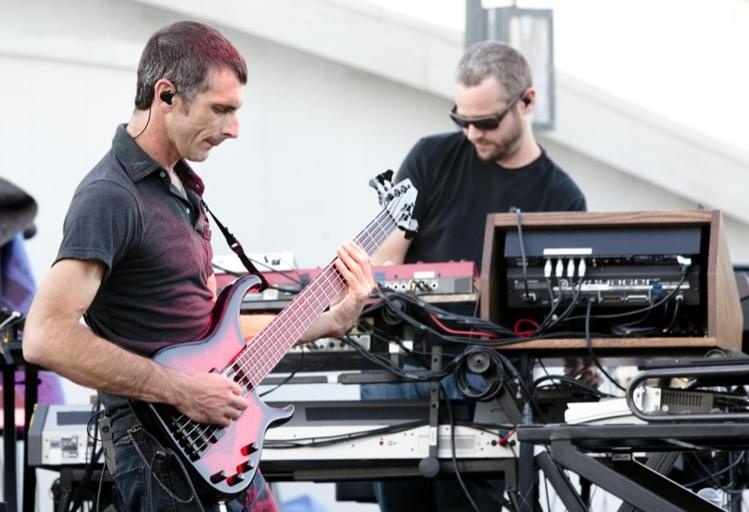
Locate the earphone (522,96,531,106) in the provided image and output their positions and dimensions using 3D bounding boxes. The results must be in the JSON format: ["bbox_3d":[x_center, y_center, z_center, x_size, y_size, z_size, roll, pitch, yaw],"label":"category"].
[{"bbox_3d":[0.820,-0.837,6.372,0.041,0.043,0.012,-4,6,-12],"label":"earphone"}]

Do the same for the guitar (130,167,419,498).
[{"bbox_3d":[-0.453,0.430,5.764,0.293,0.848,2.329,-12,29,47],"label":"guitar"}]

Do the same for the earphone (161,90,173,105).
[{"bbox_3d":[-0.891,-0.683,5.096,0.051,0.053,0.016,-8,-4,2],"label":"earphone"}]
